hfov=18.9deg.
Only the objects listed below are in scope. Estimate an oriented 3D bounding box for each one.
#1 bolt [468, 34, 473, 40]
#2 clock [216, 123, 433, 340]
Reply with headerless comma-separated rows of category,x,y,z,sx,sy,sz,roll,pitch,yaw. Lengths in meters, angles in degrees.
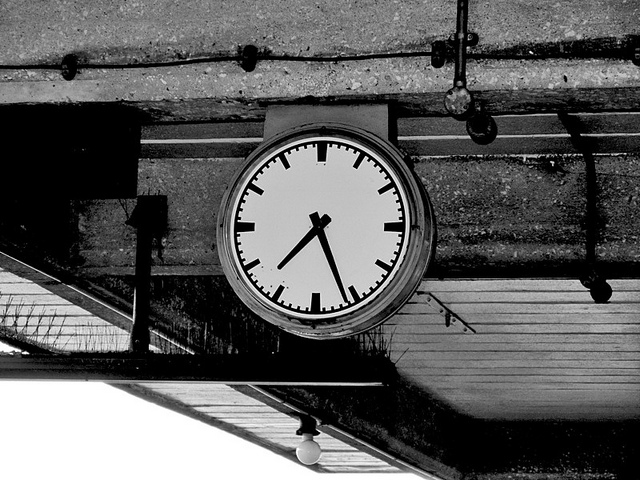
bolt,0.939,-1.287,12.222,0.035,0.011,0.036,-3,86,4
clock,0.027,-0.061,12.109,1.341,0.148,1.357,29,86,4
